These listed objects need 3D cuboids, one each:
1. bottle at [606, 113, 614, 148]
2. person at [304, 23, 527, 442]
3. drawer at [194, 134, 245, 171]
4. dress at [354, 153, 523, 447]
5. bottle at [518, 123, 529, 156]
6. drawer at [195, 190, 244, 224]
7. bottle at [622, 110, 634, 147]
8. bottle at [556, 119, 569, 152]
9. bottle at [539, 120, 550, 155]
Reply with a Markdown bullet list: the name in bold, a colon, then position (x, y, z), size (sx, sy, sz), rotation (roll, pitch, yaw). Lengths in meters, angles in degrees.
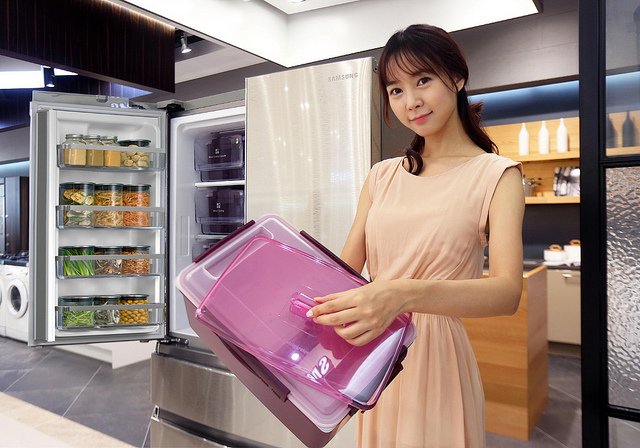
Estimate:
- **bottle**: position (0.976, -0.319, 1.511), size (0.024, 0.117, 0.003), rotation (0, 2, 10)
- **person**: position (0.302, 0.046, 1.216), size (0.527, 1.267, 0.523), rotation (0, 1, 7)
- **drawer**: position (-0.614, -0.440, 2.917), size (0.343, 0.234, 0.178), rotation (-5, -13, 11)
- **dress**: position (0.342, 0.238, 1.340), size (0.466, 0.910, 0.238), rotation (0, 2, 23)
- **bottle**: position (2.010, -0.848, 4.426), size (0.092, 0.339, 0.182), rotation (0, 2, 23)
- **drawer**: position (-0.635, -0.129, 2.939), size (0.368, 0.245, 0.204), rotation (4, 25, -4)
- **bottle**: position (1.027, -0.321, 1.495), size (0.033, 0.117, 0.004), rotation (0, 2, 12)
- **bottle**: position (2.322, -0.857, 4.271), size (0.125, 0.317, 0.110), rotation (0, 2, 9)
- **bottle**: position (2.172, -0.851, 4.342), size (0.088, 0.357, 0.209), rotation (0, 2, 26)
